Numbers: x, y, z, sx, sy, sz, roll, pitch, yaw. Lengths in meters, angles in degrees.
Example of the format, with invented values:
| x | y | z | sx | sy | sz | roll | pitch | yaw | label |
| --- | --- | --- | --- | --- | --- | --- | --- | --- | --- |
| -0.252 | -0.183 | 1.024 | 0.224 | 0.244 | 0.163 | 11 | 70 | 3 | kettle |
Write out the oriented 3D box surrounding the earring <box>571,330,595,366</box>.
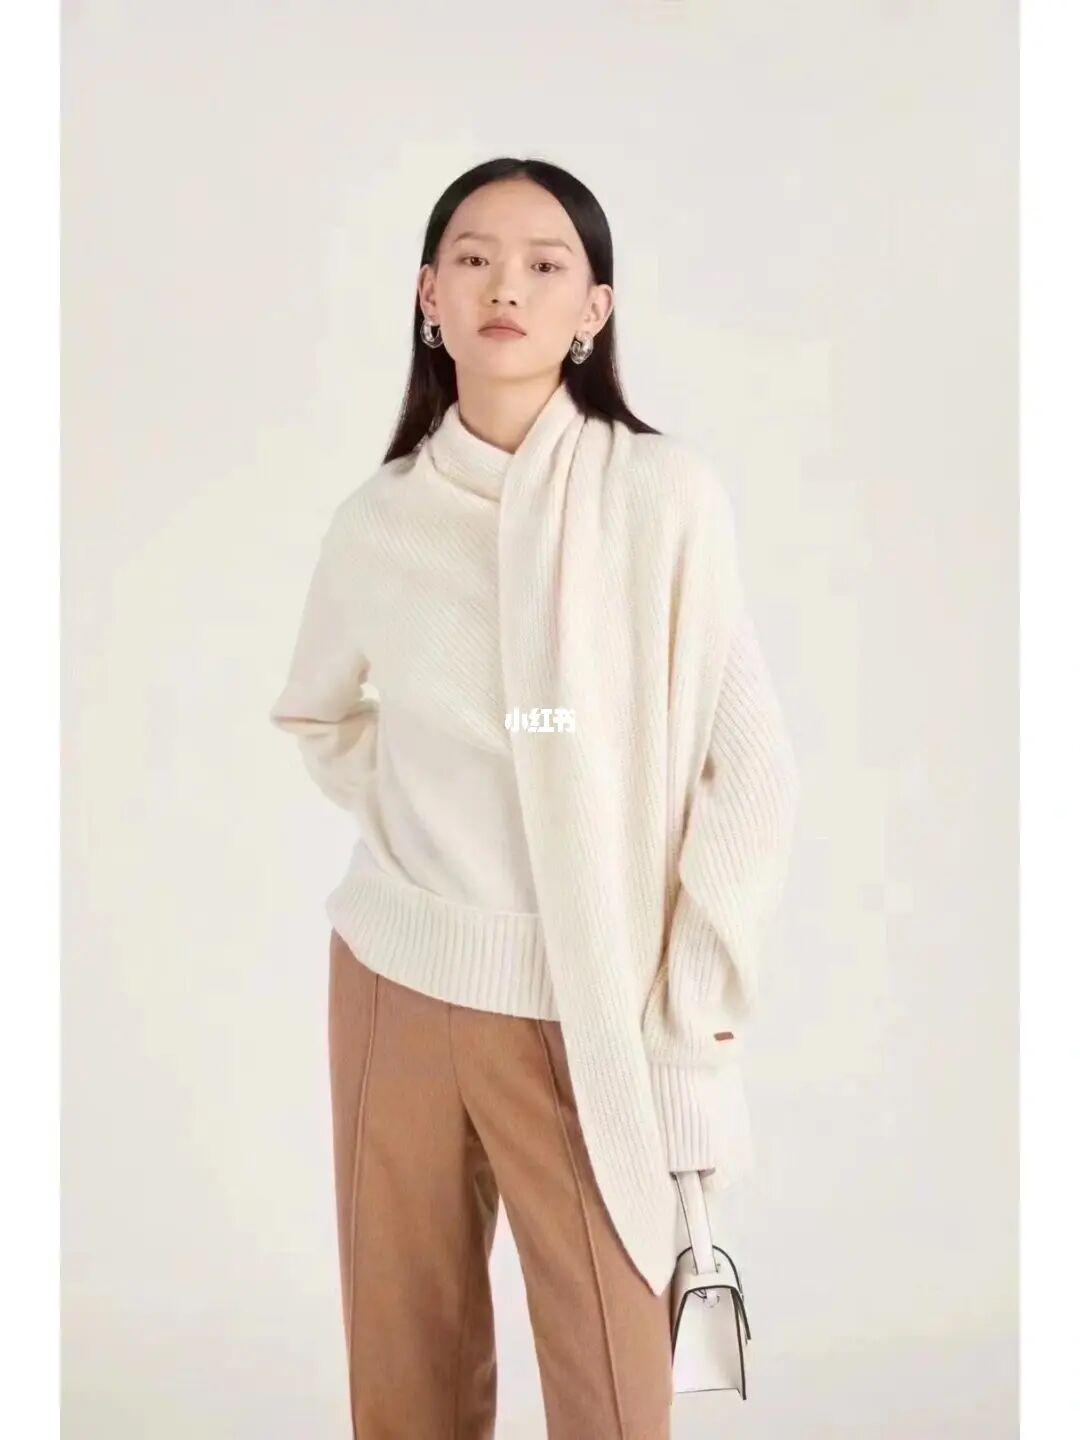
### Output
| x | y | z | sx | sy | sz | roll | pitch | yaw | label |
| --- | --- | --- | --- | --- | --- | --- | --- | --- | --- |
| 0.052 | -0.453 | 2.033 | 0.027 | 0.035 | 0.009 | 10 | 4 | -17 | earring |

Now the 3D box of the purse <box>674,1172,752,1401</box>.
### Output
| x | y | z | sx | sy | sz | roll | pitch | yaw | label |
| --- | --- | --- | --- | --- | --- | --- | --- | --- | --- |
| 0.196 | 0.676 | 1.992 | 0.091 | 0.269 | 0.118 | -3 | -10 | 1 | purse |

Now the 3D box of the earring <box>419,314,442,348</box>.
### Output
| x | y | z | sx | sy | sz | roll | pitch | yaw | label |
| --- | --- | --- | --- | --- | --- | --- | --- | --- | --- |
| -0.136 | -0.484 | 2.082 | 0.014 | 0.038 | 0.032 | -13 | 10 | -35 | earring |

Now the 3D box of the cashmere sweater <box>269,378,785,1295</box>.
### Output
| x | y | z | sx | sy | sz | roll | pitch | yaw | label |
| --- | --- | --- | --- | --- | --- | --- | --- | --- | --- |
| -0.017 | 0.146 | 2.011 | 0.588 | 1.062 | 0.223 | -2 | -10 | -5 | cashmere sweater |
